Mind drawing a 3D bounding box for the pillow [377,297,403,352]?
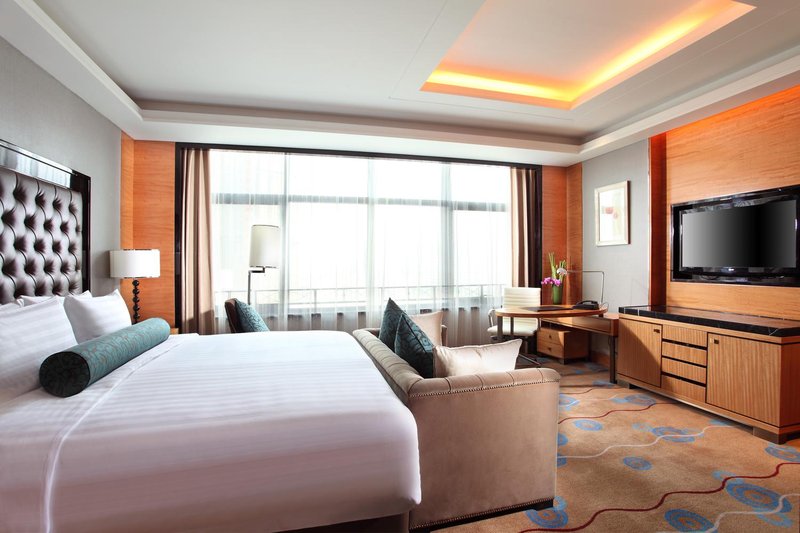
[{"bbox_3d":[-0.095,0.514,4.524,0.183,0.483,0.488,-1,0,-7],"label":"pillow"}]

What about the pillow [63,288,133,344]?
[{"bbox_3d":[-2.389,0.400,4.077,0.126,0.294,0.358,-17,0,14],"label":"pillow"}]

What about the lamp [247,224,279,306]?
[{"bbox_3d":[-1.570,-0.017,6.021,0.372,0.931,0.482,-1,4,-14],"label":"lamp"}]

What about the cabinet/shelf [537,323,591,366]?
[{"bbox_3d":[2.136,0.943,6.722,0.450,0.448,0.604,2,-1,-15],"label":"cabinet/shelf"}]

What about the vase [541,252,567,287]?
[{"bbox_3d":[2.077,0.059,6.933,0.328,0.455,0.643,1,3,15],"label":"vase"}]

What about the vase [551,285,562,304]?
[{"bbox_3d":[2.032,0.343,6.710,0.141,0.285,0.116,0,3,2],"label":"vase"}]

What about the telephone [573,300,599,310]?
[{"bbox_3d":[2.218,0.458,6.033,0.203,0.067,0.146,0,0,-33],"label":"telephone"}]

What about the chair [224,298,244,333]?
[{"bbox_3d":[-1.559,0.481,4.933,0.135,0.290,0.279,-10,8,-1],"label":"chair"}]

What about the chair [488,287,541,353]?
[{"bbox_3d":[1.560,0.625,6.734,0.702,0.870,0.705,-1,-12,20],"label":"chair"}]

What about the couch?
[{"bbox_3d":[0.445,0.989,3.792,0.929,0.829,1.686,-2,2,-21],"label":"couch"}]
